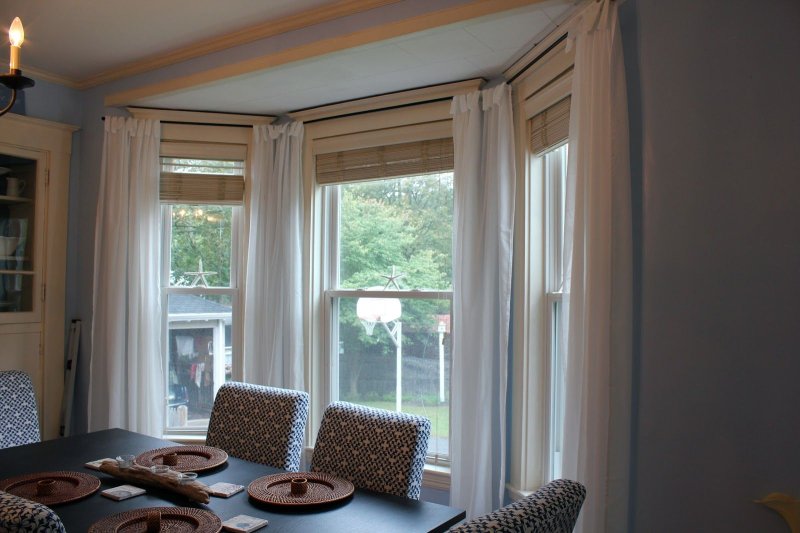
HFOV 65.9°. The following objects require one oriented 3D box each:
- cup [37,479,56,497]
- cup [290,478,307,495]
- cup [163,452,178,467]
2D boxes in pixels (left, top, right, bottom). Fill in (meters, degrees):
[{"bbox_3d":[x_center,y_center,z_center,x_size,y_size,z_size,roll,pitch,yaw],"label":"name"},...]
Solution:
[{"bbox_3d":[-1.476,0.925,2.582,0.060,0.049,0.060,3,-4,0],"label":"cup"},{"bbox_3d":[-0.424,0.930,2.623,0.059,0.042,0.059,-1,-6,0],"label":"cup"},{"bbox_3d":[-1.054,0.884,2.828,0.054,0.039,0.054,1,-8,0],"label":"cup"}]
